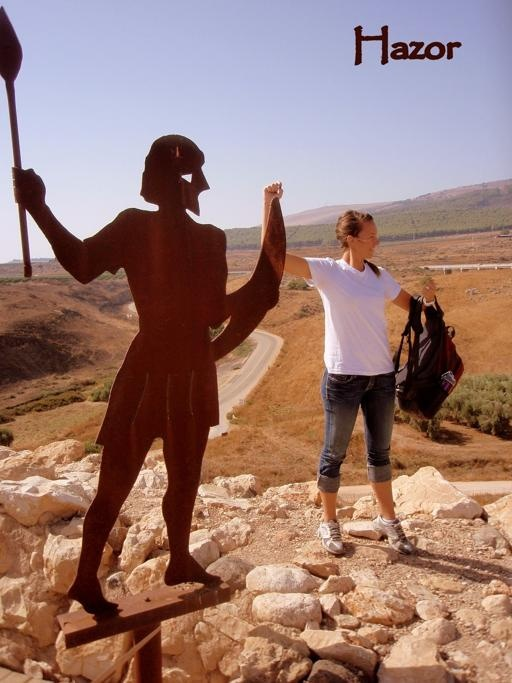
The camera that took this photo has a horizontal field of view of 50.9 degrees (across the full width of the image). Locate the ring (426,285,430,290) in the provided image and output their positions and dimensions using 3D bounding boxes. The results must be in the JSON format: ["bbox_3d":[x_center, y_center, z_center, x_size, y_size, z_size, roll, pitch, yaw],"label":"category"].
[{"bbox_3d":[1.080,-0.342,3.380,0.031,0.029,0.009,1,-5,38],"label":"ring"}]

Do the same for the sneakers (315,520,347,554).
[{"bbox_3d":[0.470,1.234,3.426,0.095,0.107,0.244,10,4,-24],"label":"sneakers"}]

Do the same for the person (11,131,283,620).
[{"bbox_3d":[-0.394,0.104,2.395,1.046,2.003,0.418,-8,11,-35],"label":"person"}]

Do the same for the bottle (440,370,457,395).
[{"bbox_3d":[1.187,0.259,3.319,0.105,0.135,0.139,3,-3,-22],"label":"bottle"}]

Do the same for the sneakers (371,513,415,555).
[{"bbox_3d":[0.882,1.237,3.453,0.300,0.118,0.105,36,7,35],"label":"sneakers"}]

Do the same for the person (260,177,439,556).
[{"bbox_3d":[0.590,0.265,3.364,0.762,2.138,0.499,-1,9,2],"label":"person"}]
